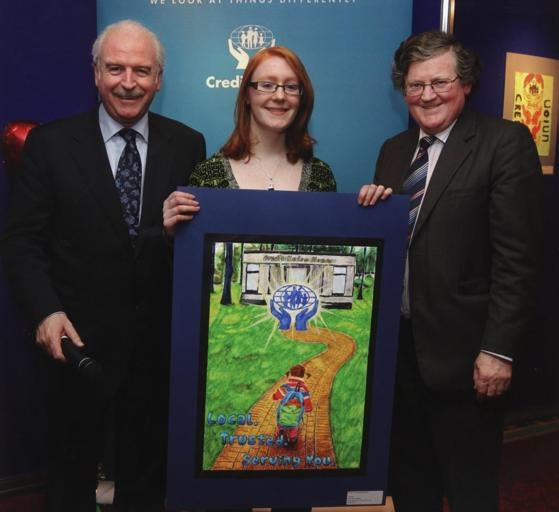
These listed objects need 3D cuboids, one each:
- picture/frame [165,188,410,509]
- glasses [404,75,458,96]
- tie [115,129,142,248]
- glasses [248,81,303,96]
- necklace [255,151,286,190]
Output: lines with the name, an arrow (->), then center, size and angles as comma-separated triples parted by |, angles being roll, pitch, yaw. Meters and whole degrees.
picture/frame -> 0.008, 0.288, 1.828 | 0.814, 1.377, 0.053 | 1, 3, -4
glasses -> 0.564, -0.622, 2.077 | 0.180, 0.065, 0.023 | 0, 5, 12
tie -> -0.599, -0.281, 2.240 | 0.104, 0.446, 0.101 | -3, 5, -18
glasses -> -0.020, -0.621, 2.090 | 0.183, 0.057, 0.027 | -2, 5, 0
necklace -> -0.041, -0.323, 2.165 | 0.132, 0.196, 0.058 | 3, -29, -6
